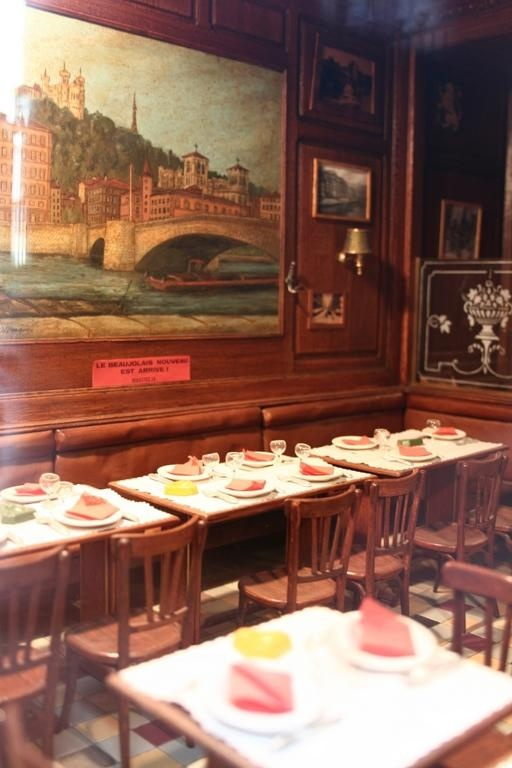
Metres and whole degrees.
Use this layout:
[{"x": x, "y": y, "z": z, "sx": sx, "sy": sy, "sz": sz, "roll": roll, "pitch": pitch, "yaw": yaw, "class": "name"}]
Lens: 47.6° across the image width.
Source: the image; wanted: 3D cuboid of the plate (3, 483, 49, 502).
[{"x": -1.027, "y": 0.492, "z": 2.579, "sx": 0.129, "sy": 0.047, "sz": 0.137, "roll": 2, "pitch": 4, "yaw": -22, "class": "plate"}]

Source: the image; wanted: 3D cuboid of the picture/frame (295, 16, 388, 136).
[{"x": 0.708, "y": -2.676, "z": 5.030, "sx": 0.057, "sy": 0.858, "sz": 1.218, "roll": 11, "pitch": 17, "yaw": 43, "class": "picture/frame"}]

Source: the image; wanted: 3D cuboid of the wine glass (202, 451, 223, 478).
[{"x": -0.244, "y": 0.455, "z": 3.225, "sx": 0.102, "sy": 0.168, "sz": 0.112, "roll": -2, "pitch": 3, "yaw": -17, "class": "wine glass"}]

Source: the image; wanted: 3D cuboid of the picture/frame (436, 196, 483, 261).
[{"x": 2.202, "y": -1.634, "z": 6.254, "sx": 0.575, "sy": 0.605, "sz": 0.031, "roll": -4, "pitch": 10, "yaw": -26, "class": "picture/frame"}]

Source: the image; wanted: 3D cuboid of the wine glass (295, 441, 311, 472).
[{"x": 0.311, "y": 0.428, "z": 3.465, "sx": 0.107, "sy": 0.207, "sz": 0.110, "roll": 2, "pitch": -4, "yaw": -20, "class": "wine glass"}]

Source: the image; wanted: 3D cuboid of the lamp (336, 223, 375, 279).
[{"x": 0.876, "y": -1.193, "z": 5.155, "sx": 0.318, "sy": 0.476, "sz": 0.388, "roll": -2, "pitch": 4, "yaw": -8, "class": "lamp"}]

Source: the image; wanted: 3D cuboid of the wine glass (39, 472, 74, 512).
[{"x": -0.855, "y": 0.473, "z": 2.513, "sx": 0.147, "sy": 0.170, "sz": 0.148, "roll": -2, "pitch": 14, "yaw": -18, "class": "wine glass"}]

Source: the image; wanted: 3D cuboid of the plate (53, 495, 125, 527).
[{"x": -0.684, "y": 0.510, "z": 2.333, "sx": 0.267, "sy": 0.131, "sz": 0.228, "roll": -2, "pitch": 0, "yaw": 4, "class": "plate"}]

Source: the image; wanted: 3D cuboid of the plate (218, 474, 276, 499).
[{"x": -0.014, "y": 0.508, "z": 2.866, "sx": 0.221, "sy": 0.080, "sz": 0.321, "roll": -1, "pitch": 1, "yaw": 45, "class": "plate"}]

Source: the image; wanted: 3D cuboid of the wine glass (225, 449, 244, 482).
[{"x": -0.108, "y": 0.458, "z": 3.273, "sx": 0.094, "sy": 0.177, "sz": 0.099, "roll": 6, "pitch": -15, "yaw": -25, "class": "wine glass"}]

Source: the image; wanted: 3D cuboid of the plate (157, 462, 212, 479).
[{"x": -0.380, "y": 0.470, "z": 3.102, "sx": 0.276, "sy": 0.077, "sz": 0.257, "roll": -2, "pitch": 0, "yaw": -5, "class": "plate"}]
